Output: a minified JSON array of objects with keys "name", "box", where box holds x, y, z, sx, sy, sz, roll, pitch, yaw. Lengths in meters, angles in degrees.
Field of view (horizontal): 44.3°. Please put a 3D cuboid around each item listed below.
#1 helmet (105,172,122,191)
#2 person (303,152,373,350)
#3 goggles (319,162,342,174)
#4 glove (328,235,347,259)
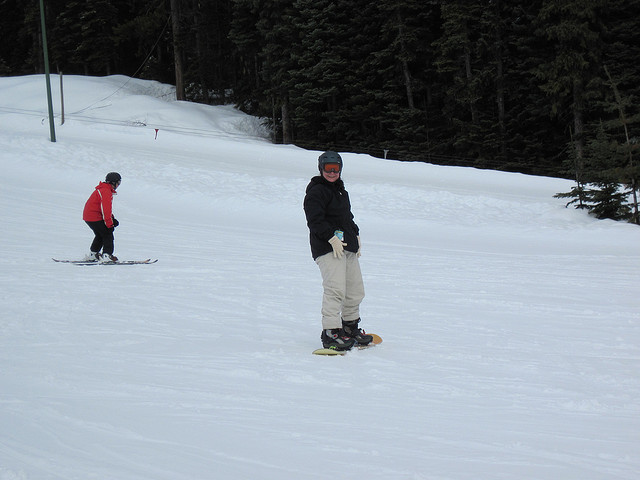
[{"name":"helmet","box":[-4.027,-1.191,15.563,0.440,0.367,0.330,-10,21,-31]},{"name":"person","box":[0.231,0.161,11.423,0.912,2.868,0.494,0,4,-30]},{"name":"goggles","box":[0.150,-1.052,11.313,0.212,0.100,0.214,2,-13,-6]},{"name":"glove","box":[0.228,0.084,11.166,0.216,0.273,0.087,-22,3,-2]}]
